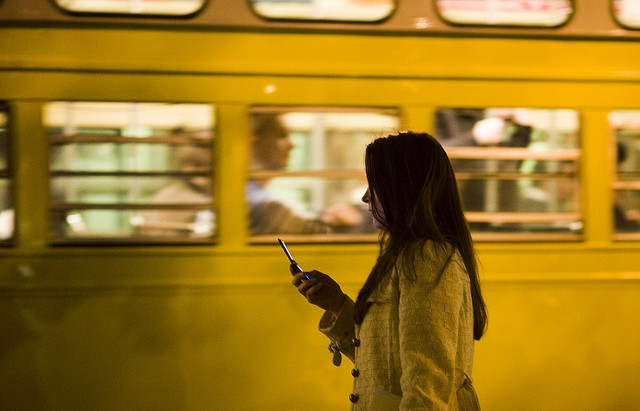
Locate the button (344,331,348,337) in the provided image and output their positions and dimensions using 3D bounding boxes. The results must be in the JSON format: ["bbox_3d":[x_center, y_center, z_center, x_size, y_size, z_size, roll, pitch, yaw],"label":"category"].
[{"bbox_3d":[0.170,0.834,6.075,0.021,0.033,0.004,2,7,3],"label":"button"}]

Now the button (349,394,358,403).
[{"bbox_3d":[0.216,1.198,5.823,0.043,0.060,0.025,-9,32,47],"label":"button"}]

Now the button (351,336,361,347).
[{"bbox_3d":[0.233,0.843,5.854,0.028,0.051,0.072,-16,41,-27],"label":"button"}]

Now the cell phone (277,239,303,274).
[{"bbox_3d":[-0.218,0.377,6.874,0.044,0.316,0.039,-34,-13,14],"label":"cell phone"}]

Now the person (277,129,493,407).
[{"bbox_3d":[0.408,0.401,5.731,1.280,1.694,0.709,2,7,3],"label":"person"}]
